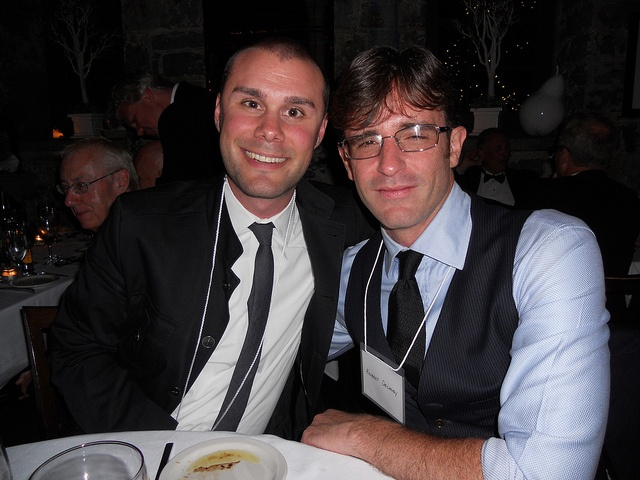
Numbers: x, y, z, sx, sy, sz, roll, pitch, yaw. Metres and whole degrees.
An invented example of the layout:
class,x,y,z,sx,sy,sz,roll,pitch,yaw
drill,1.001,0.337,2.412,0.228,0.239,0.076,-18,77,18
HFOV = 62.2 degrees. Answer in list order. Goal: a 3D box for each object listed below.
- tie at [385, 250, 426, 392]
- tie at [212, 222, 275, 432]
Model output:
class,x,y,z,sx,sy,sz,roll,pitch,yaw
tie,0.380,0.348,2.435,0.183,0.718,0.082,12,42,16
tie,-0.371,0.420,2.516,0.137,1.017,0.111,13,-14,18
